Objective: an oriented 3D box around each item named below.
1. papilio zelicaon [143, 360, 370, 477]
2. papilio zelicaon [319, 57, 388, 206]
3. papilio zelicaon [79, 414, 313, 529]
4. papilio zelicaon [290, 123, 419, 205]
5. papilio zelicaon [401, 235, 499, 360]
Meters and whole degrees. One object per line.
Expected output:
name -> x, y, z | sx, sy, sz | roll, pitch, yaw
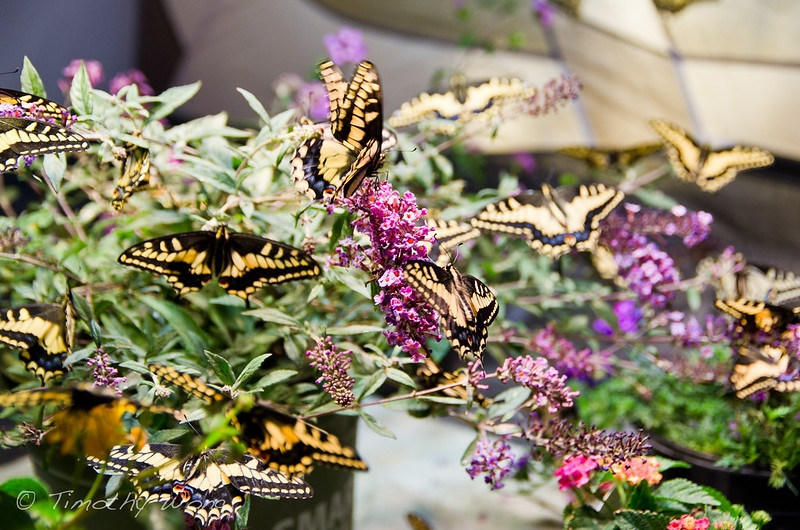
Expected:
papilio zelicaon -> -0.425, 0.454, 2.299 | 0.455, 0.524, 0.143 | -2, 37, 32
papilio zelicaon -> -0.140, -0.361, 2.321 | 0.195, 0.329, 0.166 | 6, -2, -7
papilio zelicaon -> -0.549, 0.567, 2.225 | 0.603, 0.206, 0.214 | 7, -2, 6
papilio zelicaon -> -0.141, -0.279, 2.366 | 0.236, 0.231, 0.302 | -9, -9, 9
papilio zelicaon -> 0.106, 0.104, 2.284 | 0.245, 0.263, 0.112 | 15, -40, -44
